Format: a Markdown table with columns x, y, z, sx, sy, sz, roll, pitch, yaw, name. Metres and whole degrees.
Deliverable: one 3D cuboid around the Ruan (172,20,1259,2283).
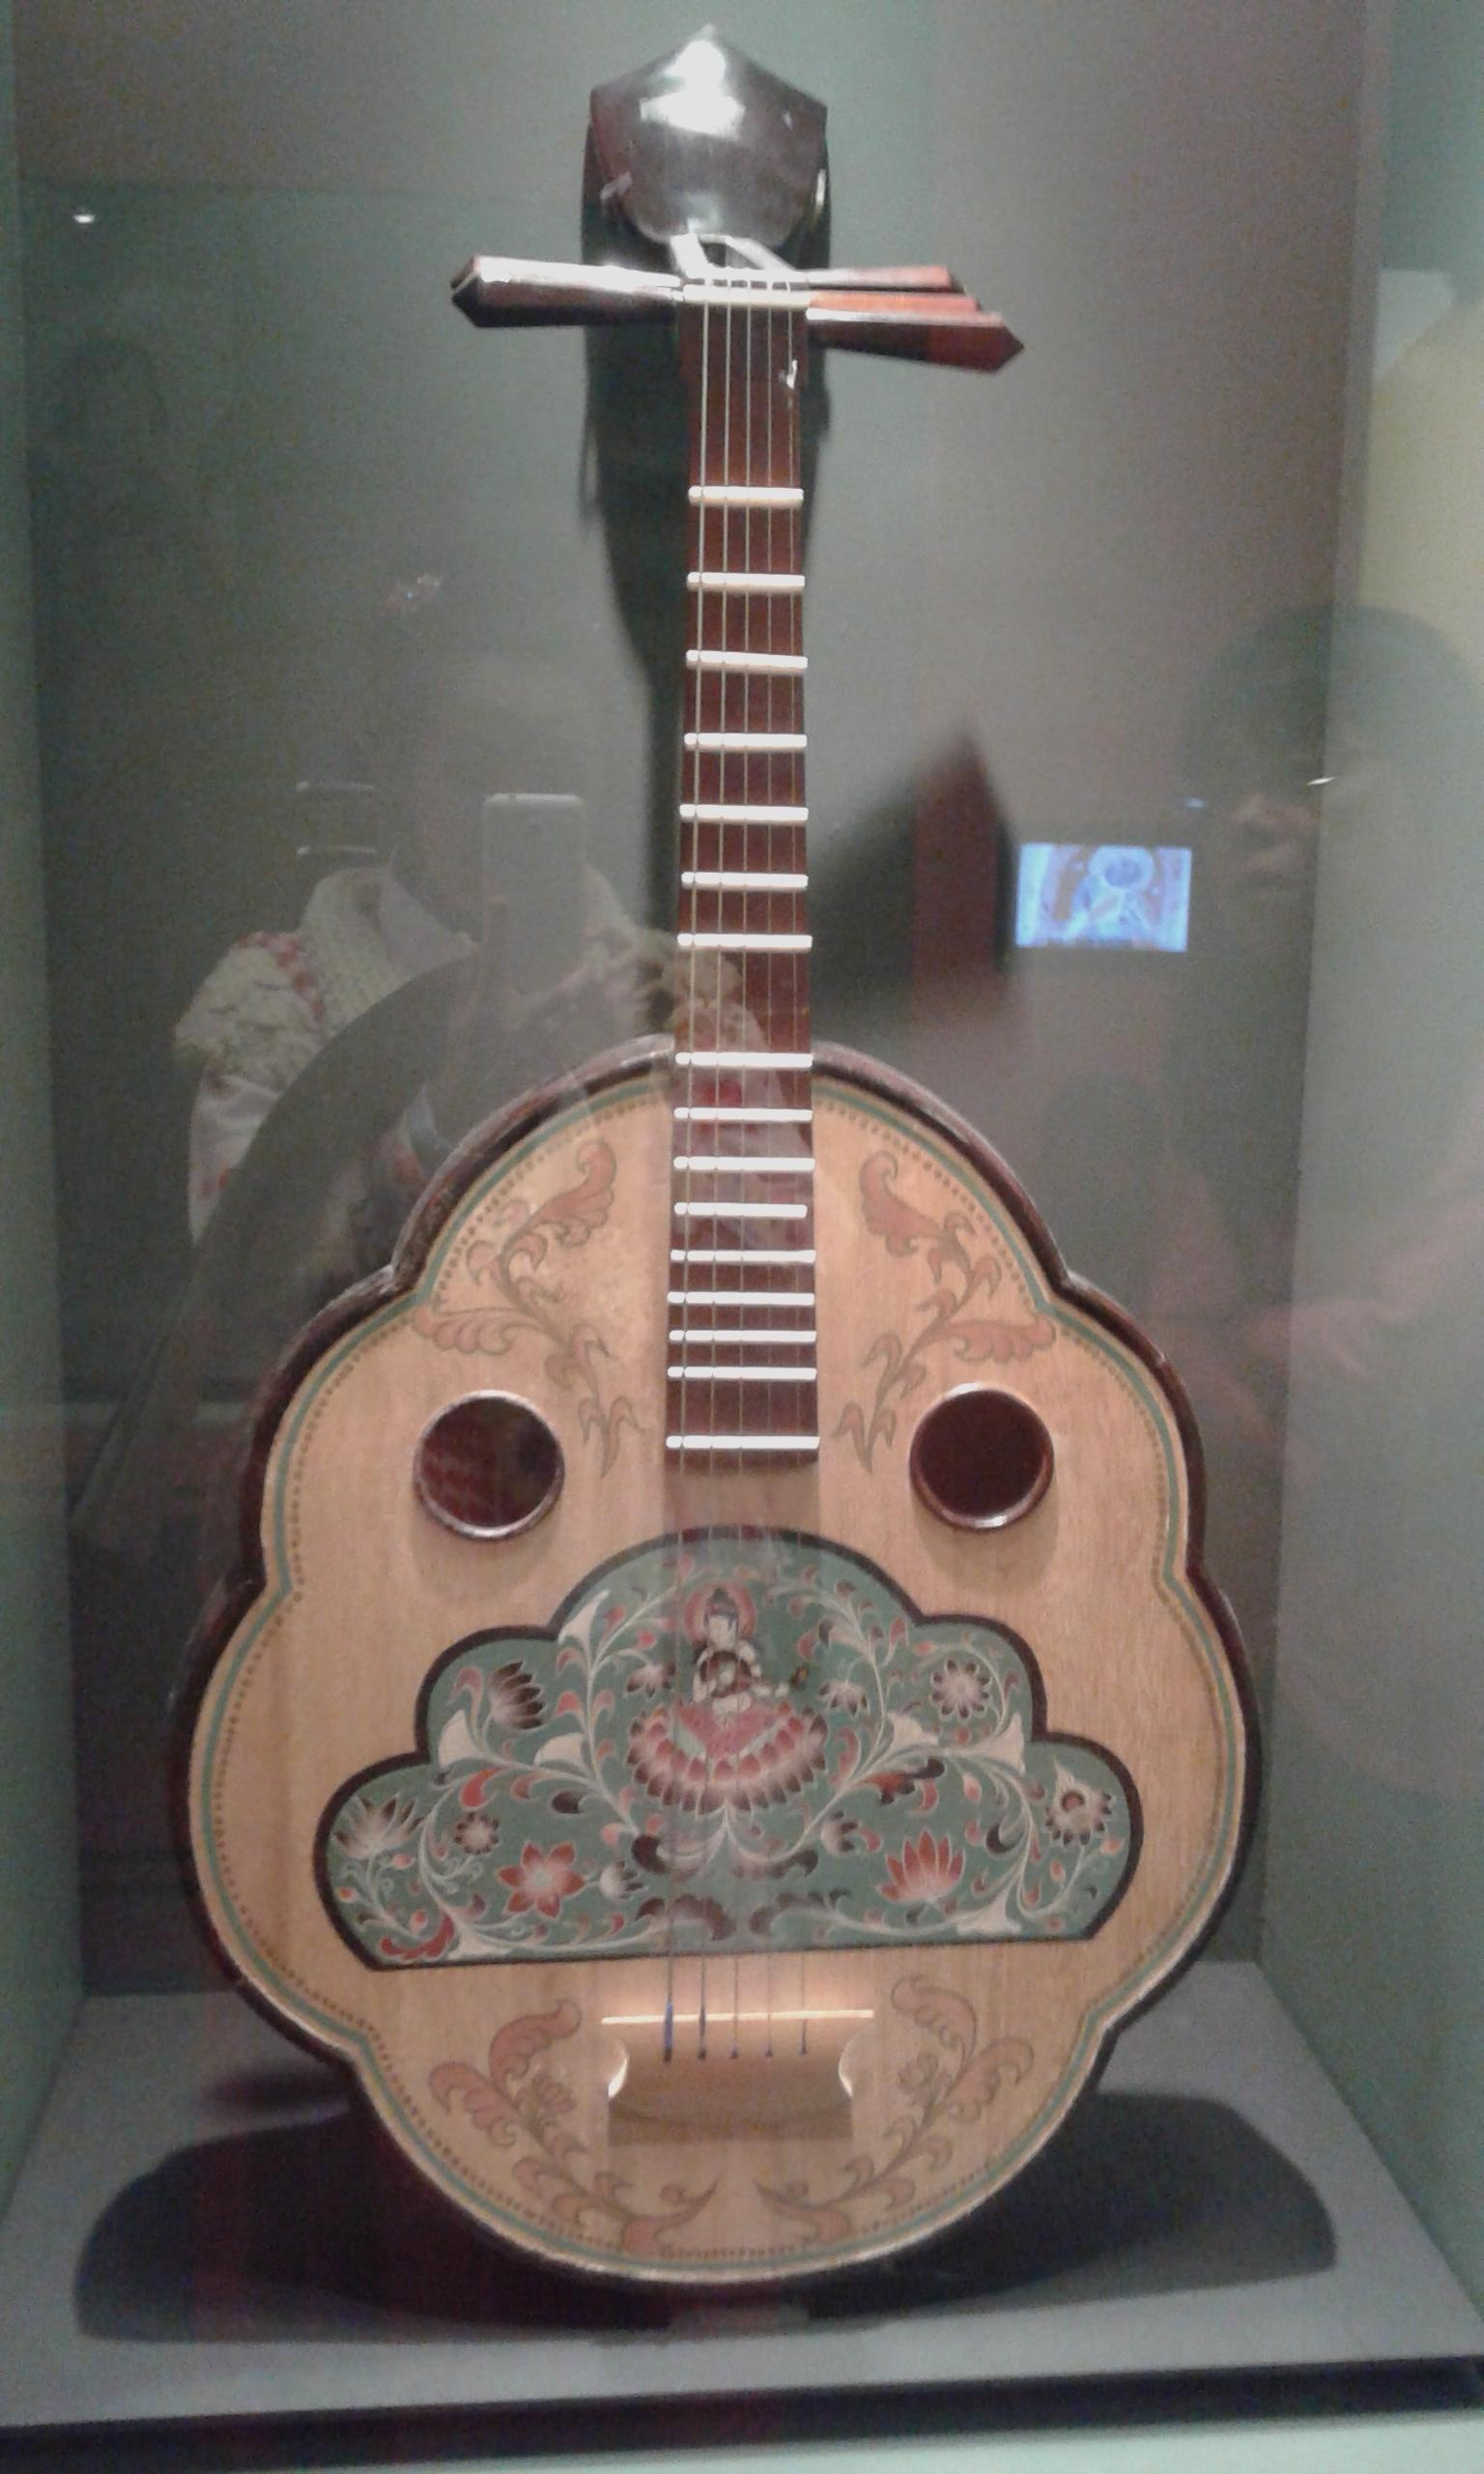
| x | y | z | sx | sy | sz | roll | pitch | yaw | name |
| --- | --- | --- | --- | --- | --- | --- | --- | --- | --- |
| -0.008 | -0.027 | 1.164 | 0.443 | 0.906 | 0.249 | 1 | 14 | -10 | Ruan |
